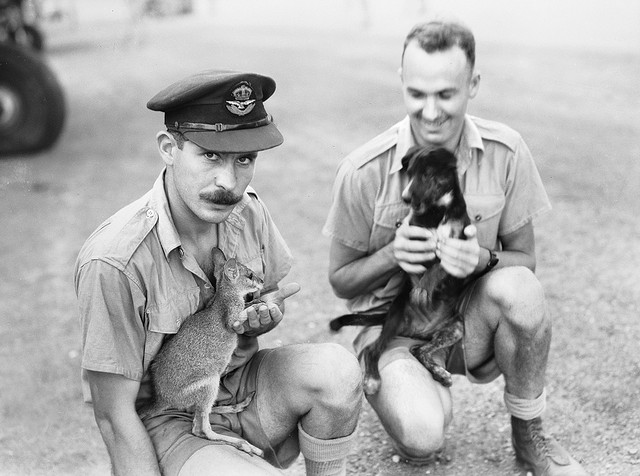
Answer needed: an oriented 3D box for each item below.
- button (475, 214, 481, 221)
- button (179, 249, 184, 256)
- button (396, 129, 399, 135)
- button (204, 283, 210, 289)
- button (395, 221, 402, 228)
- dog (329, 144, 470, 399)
[{"bbox_3d":[1.044,-0.131,5.178,0.041,0.041,0.012,-12,28,-18],"label":"button"},{"bbox_3d":[-0.829,0.087,4.630,0.027,0.029,0.007,-11,7,40],"label":"button"},{"bbox_3d":[0.517,-0.705,5.260,0.021,0.043,0.029,2,-12,-31],"label":"button"},{"bbox_3d":[-0.702,0.294,4.757,0.024,0.029,0.006,3,-6,-8],"label":"button"},{"bbox_3d":[0.512,-0.086,5.134,0.030,0.032,0.009,32,3,44],"label":"button"},{"bbox_3d":[0.593,0.124,5.066,0.827,1.498,0.868,-18,31,-25],"label":"dog"}]
